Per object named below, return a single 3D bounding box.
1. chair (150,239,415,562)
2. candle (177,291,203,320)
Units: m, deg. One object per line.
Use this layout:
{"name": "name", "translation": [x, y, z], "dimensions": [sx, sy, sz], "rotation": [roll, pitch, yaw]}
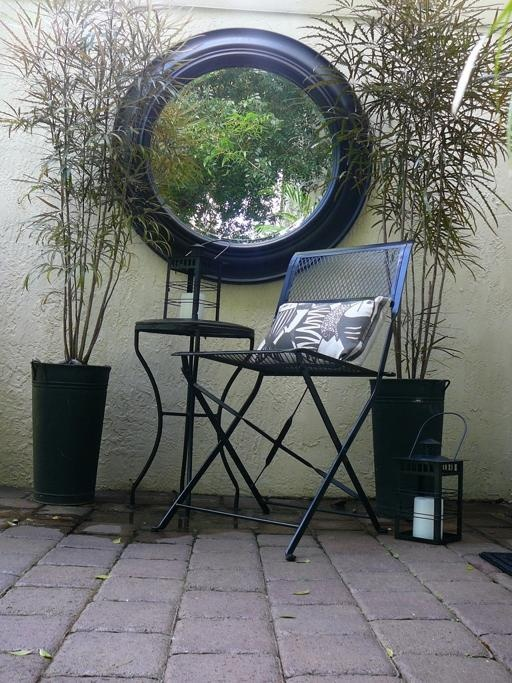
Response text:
{"name": "chair", "translation": [0.146, 0.160, 2.042], "dimensions": [0.669, 1.068, 0.820], "rotation": [10, 6, 32]}
{"name": "candle", "translation": [-0.265, -0.148, 2.431], "dimensions": [0.129, 0.128, 0.121], "rotation": [2, 3, 6]}
